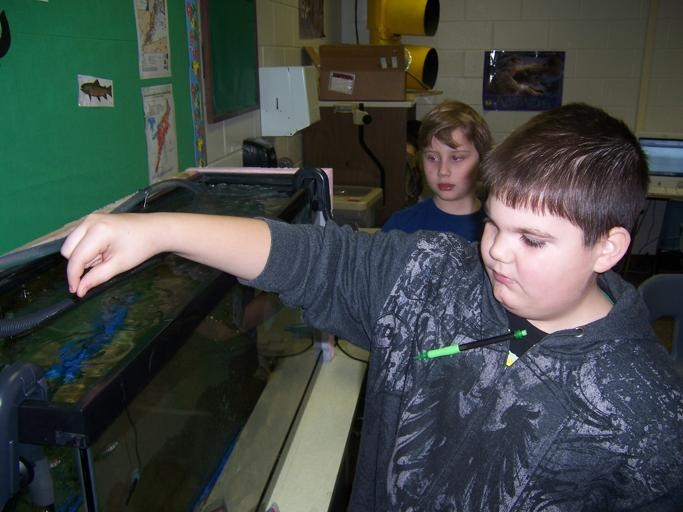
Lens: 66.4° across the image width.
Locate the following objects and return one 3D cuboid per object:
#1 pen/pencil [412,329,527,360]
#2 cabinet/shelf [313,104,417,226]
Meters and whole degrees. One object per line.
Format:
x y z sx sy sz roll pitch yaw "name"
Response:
0.219 0.147 0.863 0.151 0.018 0.019 -16 6 20 "pen/pencil"
0.236 -0.578 3.189 0.664 0.838 0.479 2 5 16 "cabinet/shelf"
